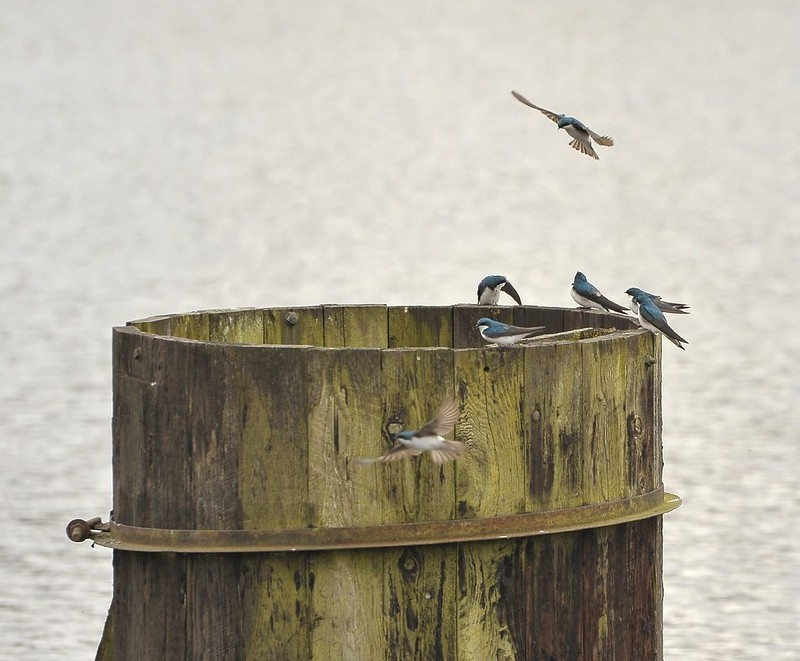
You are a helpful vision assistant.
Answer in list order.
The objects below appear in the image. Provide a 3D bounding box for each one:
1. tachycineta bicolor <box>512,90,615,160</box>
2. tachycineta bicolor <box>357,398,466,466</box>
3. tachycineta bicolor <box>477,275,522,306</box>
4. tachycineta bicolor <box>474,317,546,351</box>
[{"bbox_3d":[1.698,-1.874,19.865,0.666,0.563,1.974,0,10,5],"label":"tachycineta bicolor"},{"bbox_3d":[0.157,0.779,15.514,0.484,0.151,0.902,15,-41,-43],"label":"tachycineta bicolor"},{"bbox_3d":[0.856,-0.355,19.662,0.363,0.130,0.346,1,-17,-29],"label":"tachycineta bicolor"},{"bbox_3d":[0.832,0.020,17.530,0.747,0.285,0.215,-1,-18,21],"label":"tachycineta bicolor"}]
